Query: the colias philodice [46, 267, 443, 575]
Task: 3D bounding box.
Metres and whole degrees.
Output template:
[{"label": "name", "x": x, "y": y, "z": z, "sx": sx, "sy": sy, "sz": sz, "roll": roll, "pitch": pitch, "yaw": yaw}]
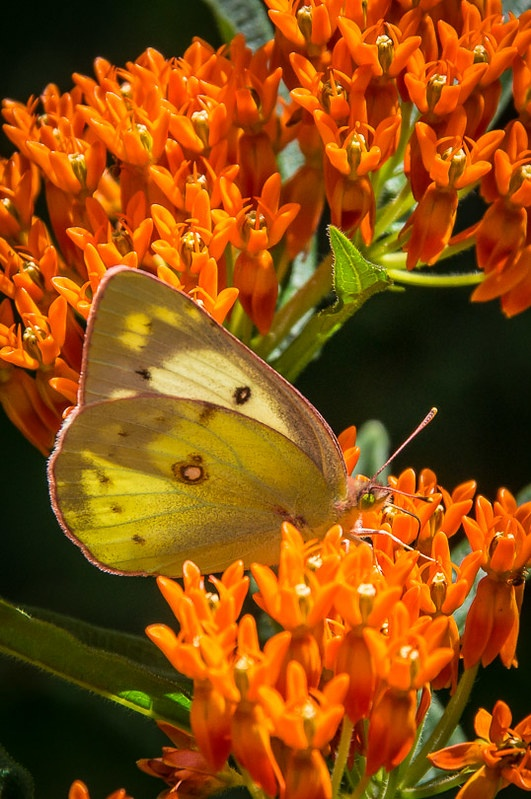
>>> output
[{"label": "colias philodice", "x": -0.019, "y": 0.052, "z": 1.019, "sx": 0.388, "sy": 0.242, "sz": 0.387, "roll": 0, "pitch": -1, "yaw": 6}]
